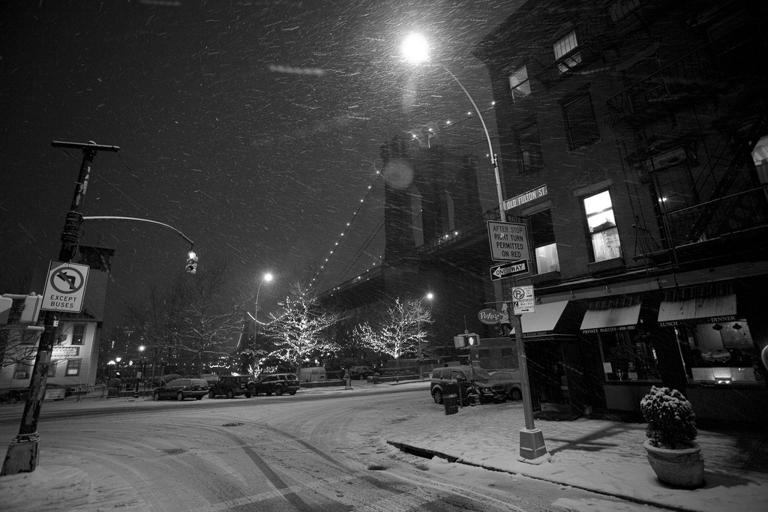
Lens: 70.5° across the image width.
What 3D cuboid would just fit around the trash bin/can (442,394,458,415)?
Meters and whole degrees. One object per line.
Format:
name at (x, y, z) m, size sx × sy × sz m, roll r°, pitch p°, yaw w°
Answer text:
trash bin/can at (3.111, 6.653, 24.520) m, size 0.797 × 0.806 × 0.817 m, roll -5°, pitch -8°, yaw 27°

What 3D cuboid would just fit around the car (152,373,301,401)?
car at (-11.299, 9.422, 39.052) m, size 9.543 × 1.776 × 2.846 m, roll -1°, pitch -3°, yaw -14°
